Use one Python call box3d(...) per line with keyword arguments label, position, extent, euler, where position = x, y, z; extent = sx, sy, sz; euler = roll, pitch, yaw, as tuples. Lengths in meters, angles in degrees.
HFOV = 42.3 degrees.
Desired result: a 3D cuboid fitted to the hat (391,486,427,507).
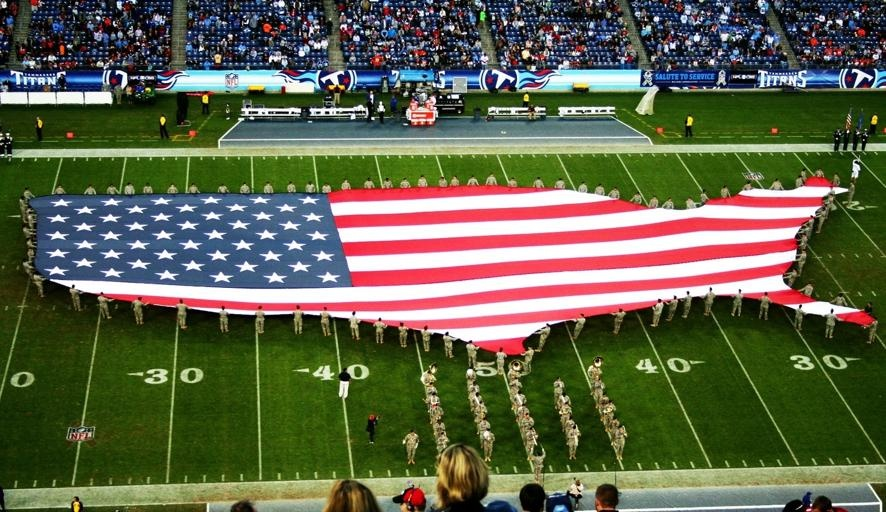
box3d(label="hat", position=(-1.032, 7.403, 35.779), extent=(0.751, 0.663, 0.860), euler=(-6, 23, -10))
